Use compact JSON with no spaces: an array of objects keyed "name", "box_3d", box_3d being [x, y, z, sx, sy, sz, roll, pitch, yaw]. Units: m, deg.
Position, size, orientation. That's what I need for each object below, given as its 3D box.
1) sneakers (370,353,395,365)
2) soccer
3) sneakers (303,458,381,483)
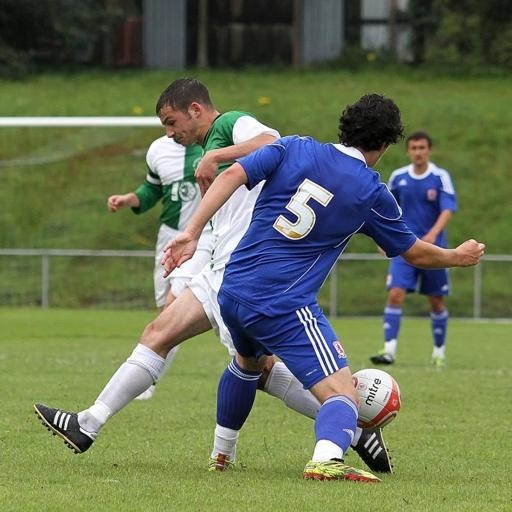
[{"name":"sneakers","box_3d":[1.152,0.924,10.364,0.259,0.123,0.089,3,-2,8]},{"name":"soccer","box_3d":[0.680,0.812,6.534,0.296,0.340,0.312,6,-3,-3]},{"name":"sneakers","box_3d":[0.460,1.121,6.139,0.394,0.138,0.143,-1,8,-7]}]
